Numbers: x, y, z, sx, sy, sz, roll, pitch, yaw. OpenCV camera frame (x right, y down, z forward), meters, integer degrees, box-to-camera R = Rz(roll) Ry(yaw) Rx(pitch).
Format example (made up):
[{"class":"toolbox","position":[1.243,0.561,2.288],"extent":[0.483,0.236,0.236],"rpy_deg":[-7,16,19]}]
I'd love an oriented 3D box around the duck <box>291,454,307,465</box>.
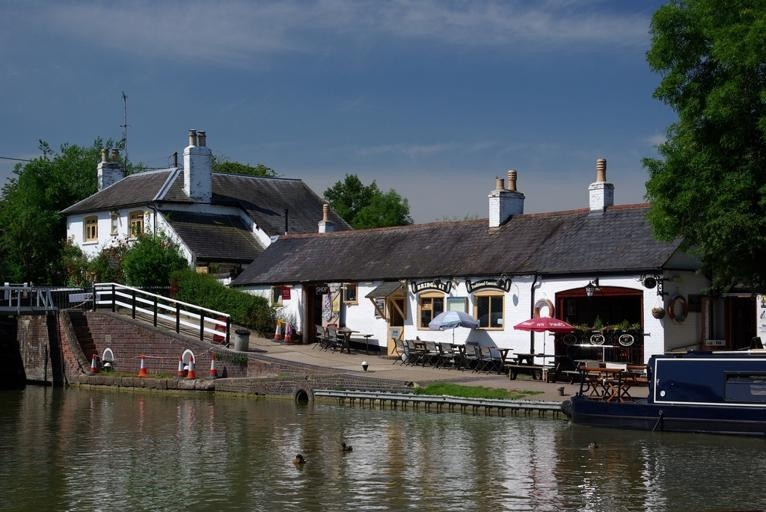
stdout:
[{"class":"duck","position":[-2.713,6.550,48.437],"extent":[0.328,0.263,0.332],"rpy_deg":[-2,-2,41]}]

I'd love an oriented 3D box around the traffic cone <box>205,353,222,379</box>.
[{"class":"traffic cone","position":[-7.210,4.627,63.751],"extent":[0.468,0.974,1.203],"rpy_deg":[-3,10,-7]}]

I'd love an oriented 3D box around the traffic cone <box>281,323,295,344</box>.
[{"class":"traffic cone","position":[-4.465,3.644,70.937],"extent":[0.547,0.847,1.286],"rpy_deg":[-2,9,-3]}]

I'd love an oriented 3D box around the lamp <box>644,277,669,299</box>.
[{"class":"lamp","position":[10.834,1.303,59.891],"extent":[0.768,0.911,0.453],"rpy_deg":[0,5,15]}]

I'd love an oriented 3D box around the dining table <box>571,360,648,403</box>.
[{"class":"dining table","position":[8.498,4.709,56.345],"extent":[3.782,2.173,1.585],"rpy_deg":[-1,-1,32]}]

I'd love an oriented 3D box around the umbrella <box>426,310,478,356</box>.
[{"class":"umbrella","position":[2.997,3.308,63.861],"extent":[1.550,1.855,1.397],"rpy_deg":[-2,-3,4]}]

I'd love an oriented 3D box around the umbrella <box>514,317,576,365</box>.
[{"class":"umbrella","position":[6.534,3.417,60.156],"extent":[2.001,1.596,1.957],"rpy_deg":[-1,-2,18]}]

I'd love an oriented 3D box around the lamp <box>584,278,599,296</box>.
[{"class":"lamp","position":[8.561,1.266,61.182],"extent":[0.512,0.679,0.303],"rpy_deg":[5,12,33]}]
